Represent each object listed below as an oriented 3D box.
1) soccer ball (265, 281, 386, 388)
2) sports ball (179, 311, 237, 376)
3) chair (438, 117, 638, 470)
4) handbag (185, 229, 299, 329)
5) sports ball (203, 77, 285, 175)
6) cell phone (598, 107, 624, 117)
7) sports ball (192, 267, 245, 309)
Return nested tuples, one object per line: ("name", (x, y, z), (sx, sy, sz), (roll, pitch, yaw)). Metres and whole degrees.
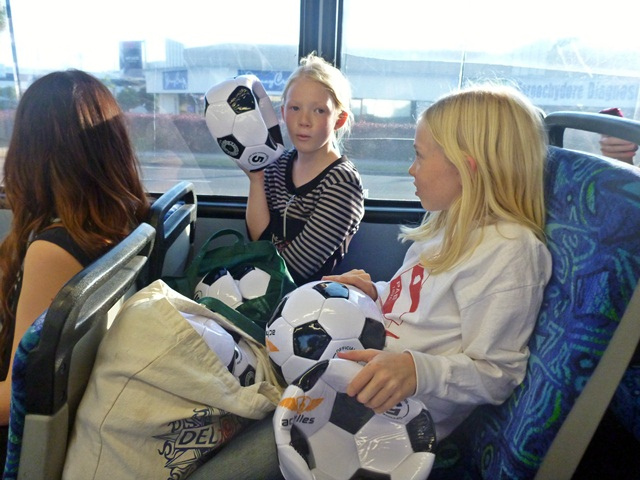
("soccer ball", (0.024, 0.212, 1.529), (0.338, 0.299, 0.307), (-1, 24, 27))
("sports ball", (-0.287, 0.261, 1.357), (0.147, 0.176, 0.166), (0, 12, -16))
("chair", (0.612, 0.224, 1.361), (0.369, 0.891, 0.403), (-7, 15, -41))
("handbag", (-0.267, 0.121, 1.757), (0.343, 0.161, 0.285), (23, 54, 32))
("sports ball", (-0.277, -0.434, 2.025), (0.303, 0.376, 0.167), (-8, 16, -44))
("cell phone", (1.232, -0.543, 2.207), (0.101, 0.042, 0.230), (10, 14, 28))
("sports ball", (-0.331, 0.156, 1.713), (0.194, 0.092, 0.083), (13, 15, 35))
